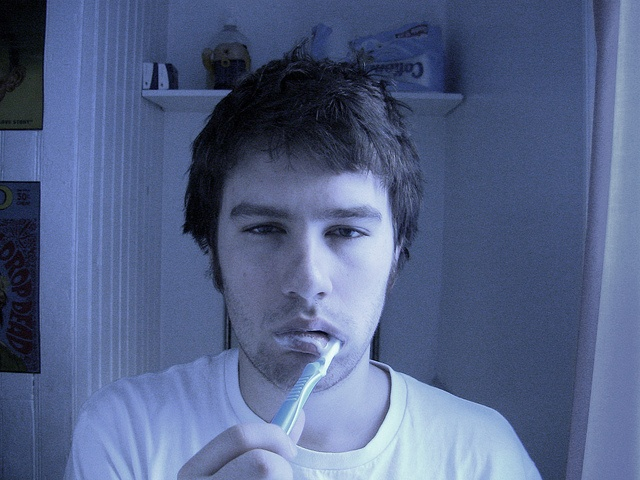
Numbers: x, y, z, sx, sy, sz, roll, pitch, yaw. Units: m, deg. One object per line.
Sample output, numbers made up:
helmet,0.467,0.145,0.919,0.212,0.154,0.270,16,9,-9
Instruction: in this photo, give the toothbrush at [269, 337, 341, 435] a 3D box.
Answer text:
toothbrush,-0.014,0.341,2.051,0.071,0.043,0.350,0,37,35
